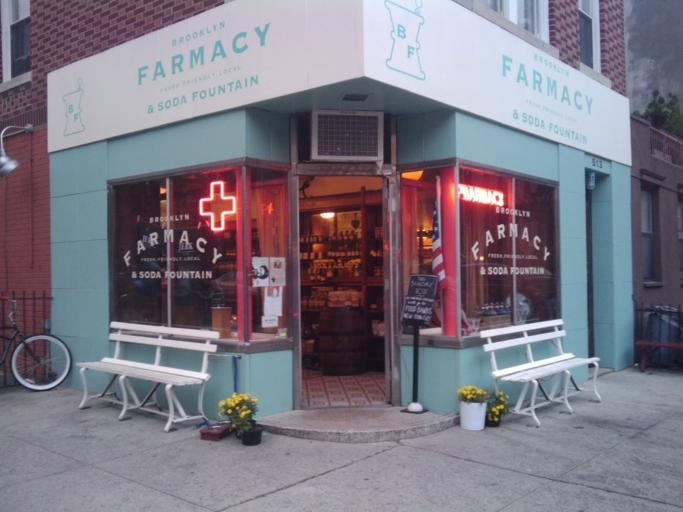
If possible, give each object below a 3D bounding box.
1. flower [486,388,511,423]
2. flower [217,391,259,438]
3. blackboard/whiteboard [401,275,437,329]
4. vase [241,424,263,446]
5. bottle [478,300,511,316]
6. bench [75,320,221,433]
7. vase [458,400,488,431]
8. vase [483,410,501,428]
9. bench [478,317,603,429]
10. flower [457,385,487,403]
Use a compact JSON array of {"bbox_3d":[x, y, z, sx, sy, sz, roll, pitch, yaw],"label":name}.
[{"bbox_3d":[2.047,2.048,8.305,0.365,0.423,0.383,3,4,12],"label":"flower"},{"bbox_3d":[-1.364,1.913,7.648,0.468,0.670,0.610,2,-1,-45],"label":"flower"},{"bbox_3d":[1.110,0.619,8.611,0.437,0.806,0.115,2,-30,24],"label":"blackboard/whiteboard"},{"bbox_3d":[-1.092,2.204,7.489,0.230,0.166,0.231,-1,2,-18],"label":"vase"},{"bbox_3d":[2.348,0.797,9.306,0.835,0.214,0.057,3,-6,-44],"label":"bottle"},{"bbox_3d":[-2.838,1.674,8.714,2.142,1.335,0.716,1,-4,33],"label":"bench"},{"bbox_3d":[1.747,2.101,8.078,0.311,0.358,0.354,-1,-7,23],"label":"vase"},{"bbox_3d":[2.037,2.172,8.170,0.176,0.160,0.207,0,0,7],"label":"vase"},{"bbox_3d":[3.015,1.662,9.033,2.055,1.294,0.833,-3,-2,-41],"label":"bench"},{"bbox_3d":[1.753,1.836,8.186,0.237,0.165,0.266,-1,-3,13],"label":"flower"}]
